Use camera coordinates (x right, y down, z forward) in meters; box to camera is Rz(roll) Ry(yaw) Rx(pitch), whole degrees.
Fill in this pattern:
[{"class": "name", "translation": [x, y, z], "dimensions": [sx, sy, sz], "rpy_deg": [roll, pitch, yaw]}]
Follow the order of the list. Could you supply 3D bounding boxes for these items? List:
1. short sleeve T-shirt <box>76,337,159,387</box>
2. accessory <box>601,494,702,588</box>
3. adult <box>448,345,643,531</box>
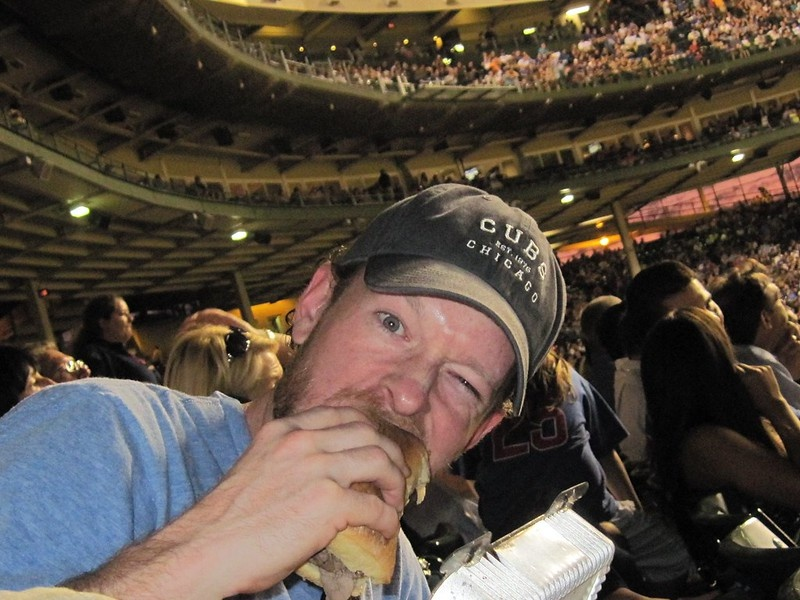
[{"class": "short sleeve T-shirt", "translation": [-2.422, 0.513, 5.462], "dimensions": [0.639, 0.297, 0.391], "rpy_deg": [25, 7, -23]}, {"class": "accessory", "translation": [1.324, 1.322, 3.484], "dimensions": [0.197, 0.467, 0.311], "rpy_deg": [-48, -17, 27]}, {"class": "adult", "translation": [0.795, 0.883, 3.519], "dimensions": [0.982, 0.925, 0.543], "rpy_deg": [-8, -5, 16]}]
